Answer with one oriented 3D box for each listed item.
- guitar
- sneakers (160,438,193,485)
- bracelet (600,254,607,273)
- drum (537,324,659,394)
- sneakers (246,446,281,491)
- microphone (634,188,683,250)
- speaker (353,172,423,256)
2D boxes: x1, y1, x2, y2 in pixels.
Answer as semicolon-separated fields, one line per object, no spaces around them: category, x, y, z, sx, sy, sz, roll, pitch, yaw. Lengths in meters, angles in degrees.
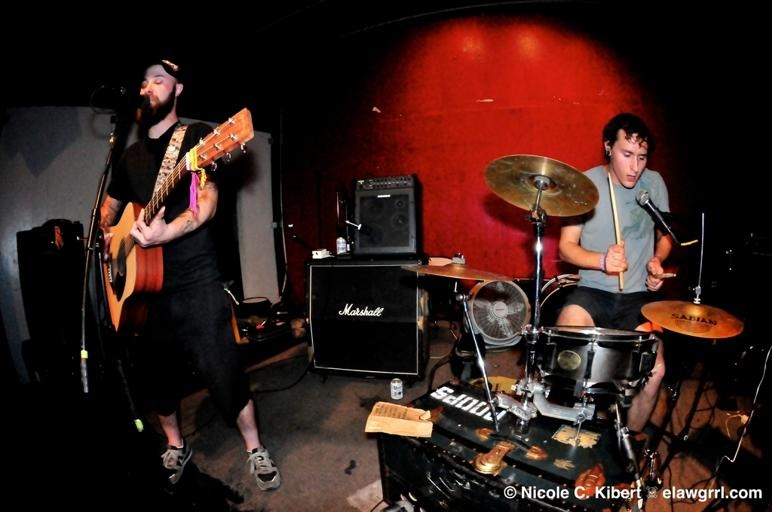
guitar;-1.759;-0.305;4.397;2.426;1.000;0.271;-39;-33;27
sneakers;-1.691;1.663;4.388;0.137;0.381;0.168;-2;-3;19
bracelet;1.687;0.060;4.233;0.037;0.105;0.088;3;32;-3
drum;1.613;0.849;4.269;0.957;0.435;0.858;3;-7;43
sneakers;-1.005;1.690;4.393;0.210;0.206;0.467;-1;15;-33
microphone;2.226;-0.299;4.480;0.145;0.624;0.159;-37;-7;-46
speaker;0.017;-0.375;5.228;0.722;0.853;0.473;-2;-6;18
